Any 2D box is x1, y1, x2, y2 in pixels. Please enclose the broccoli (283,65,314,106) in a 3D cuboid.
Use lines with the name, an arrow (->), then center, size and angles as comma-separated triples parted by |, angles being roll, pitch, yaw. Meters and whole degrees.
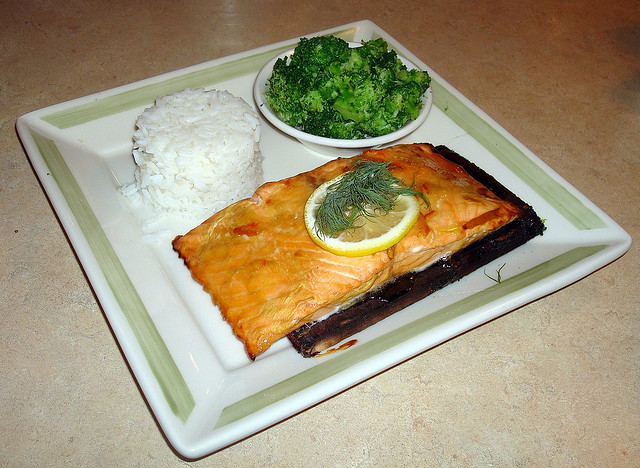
broccoli -> -0.156, -1.067, 3.847 | 0.259, 0.083, 0.273 | 11, 86, 8

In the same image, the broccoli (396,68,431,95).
broccoli -> 0.710, -1.157, 4.003 | 0.180, 0.076, 0.213 | 3, 32, -30

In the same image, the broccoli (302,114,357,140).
broccoli -> 0.064, -0.753, 3.864 | 0.281, 0.059, 0.194 | 11, 34, 0

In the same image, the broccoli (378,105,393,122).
broccoli -> 0.460, -0.850, 3.814 | 0.096, 0.029, 0.097 | 3, 96, -5

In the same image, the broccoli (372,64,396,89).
broccoli -> 0.476, -1.116, 3.868 | 0.151, 0.042, 0.174 | -15, 72, -10

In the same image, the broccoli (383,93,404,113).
broccoli -> 0.521, -0.918, 3.814 | 0.133, 0.039, 0.136 | -39, 64, -2

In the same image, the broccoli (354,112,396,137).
broccoli -> 0.402, -0.759, 3.838 | 0.182, 0.185, 0.059 | 16, 39, -15

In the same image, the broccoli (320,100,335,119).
broccoli -> 0.071, -0.899, 3.875 | 0.096, 0.110, 0.104 | 28, 24, 5

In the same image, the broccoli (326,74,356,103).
broccoli -> 0.164, -1.036, 3.817 | 0.201, 0.086, 0.157 | 39, 99, 9
